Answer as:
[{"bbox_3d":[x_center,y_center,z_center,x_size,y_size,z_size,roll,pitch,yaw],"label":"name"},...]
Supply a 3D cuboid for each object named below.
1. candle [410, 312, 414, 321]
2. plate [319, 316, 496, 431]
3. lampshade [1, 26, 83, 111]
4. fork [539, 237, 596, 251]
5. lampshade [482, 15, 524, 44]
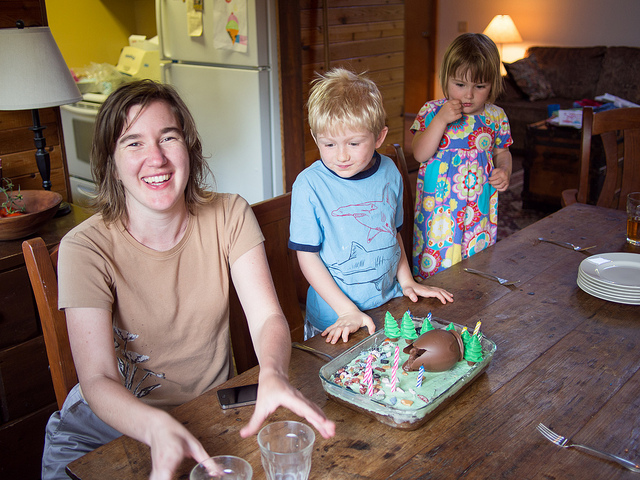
[{"bbox_3d":[0.258,0.217,1.415,0.008,0.012,0.027,-6,-6,10],"label":"candle"},{"bbox_3d":[0.209,0.307,1.197,0.385,0.099,0.254,-23,27,-37],"label":"plate"},{"bbox_3d":[-1.265,-0.751,2.296,0.321,0.269,0.362,-14,21,-9],"label":"lampshade"},{"bbox_3d":[0.906,0.021,1.844,0.104,0.020,0.019,12,26,21],"label":"fork"},{"bbox_3d":[2.452,-2.797,6.722,0.475,0.369,0.234,2,22,20],"label":"lampshade"}]
